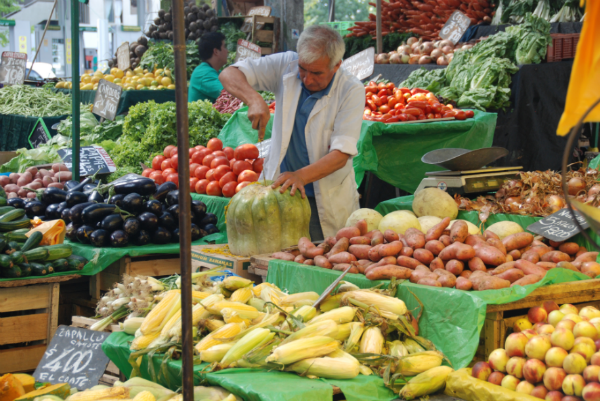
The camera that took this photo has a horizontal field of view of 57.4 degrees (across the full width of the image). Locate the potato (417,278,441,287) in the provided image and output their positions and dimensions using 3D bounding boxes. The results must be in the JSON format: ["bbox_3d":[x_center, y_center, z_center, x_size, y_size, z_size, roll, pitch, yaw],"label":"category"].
[{"bbox_3d":[0.797,0.506,3.418,0.138,0.042,0.072,2,8,17],"label":"potato"}]

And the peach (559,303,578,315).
[{"bbox_3d":[1.677,0.668,3.415,0.076,0.078,0.075,0,3,8],"label":"peach"}]

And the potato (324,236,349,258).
[{"bbox_3d":[0.262,0.327,3.888,0.171,0.056,0.092,-45,22,-14],"label":"potato"}]

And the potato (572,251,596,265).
[{"bbox_3d":[1.962,0.389,3.774,0.156,0.054,0.084,-13,5,-10],"label":"potato"}]

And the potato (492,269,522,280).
[{"bbox_3d":[1.304,0.467,3.451,0.148,0.080,0.052,-5,-35,0],"label":"potato"}]

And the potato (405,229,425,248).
[{"bbox_3d":[0.799,0.272,3.816,0.136,0.107,0.175,-1,7,0],"label":"potato"}]

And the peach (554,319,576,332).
[{"bbox_3d":[1.540,0.722,3.172,0.067,0.075,0.072,27,-35,-9],"label":"peach"}]

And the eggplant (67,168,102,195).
[{"bbox_3d":[-2.182,-0.188,5.543,0.361,0.110,0.104,-31,38,-22],"label":"eggplant"}]

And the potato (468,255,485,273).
[{"bbox_3d":[1.148,0.418,3.604,0.064,0.060,0.114,29,15,-29],"label":"potato"}]

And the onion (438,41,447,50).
[{"bbox_3d":[2.414,-2.612,9.282,0.125,0.139,0.171,0,7,2],"label":"onion"}]

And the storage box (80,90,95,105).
[{"bbox_3d":[-3.915,-1.888,10.094,0.162,0.246,0.630,-5,8,-31],"label":"storage box"}]

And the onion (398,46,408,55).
[{"bbox_3d":[1.833,-2.661,9.762,0.167,0.193,0.408,1,7,10],"label":"onion"}]

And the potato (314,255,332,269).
[{"bbox_3d":[0.161,0.420,3.800,0.061,0.055,0.123,-22,18,-23],"label":"potato"}]

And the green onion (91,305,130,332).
[{"bbox_3d":[-1.337,0.823,3.798,0.252,0.146,0.148,1,7,14],"label":"green onion"}]

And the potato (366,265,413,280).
[{"bbox_3d":[0.575,0.438,3.536,0.230,0.070,0.120,-3,2,-10],"label":"potato"}]

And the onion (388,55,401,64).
[{"bbox_3d":[1.642,-2.436,9.538,0.171,0.135,0.140,-4,-29,-6],"label":"onion"}]

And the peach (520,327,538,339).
[{"bbox_3d":[1.341,0.778,3.221,0.055,0.045,0.054,-2,0,-3],"label":"peach"}]

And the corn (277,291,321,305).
[{"bbox_3d":[-0.001,0.624,3.555,0.281,0.076,0.089,-9,51,-1],"label":"corn"}]

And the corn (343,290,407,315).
[{"bbox_3d":[0.447,0.631,3.415,0.415,0.132,0.139,7,19,25],"label":"corn"}]

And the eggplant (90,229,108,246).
[{"bbox_3d":[-1.730,0.319,4.695,0.175,0.151,0.100,6,9,41],"label":"eggplant"}]

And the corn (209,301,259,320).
[{"bbox_3d":[-0.406,0.691,3.458,0.331,0.123,0.123,13,-21,-11],"label":"corn"}]

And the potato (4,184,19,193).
[{"bbox_3d":[-3.440,-0.145,6.510,0.123,0.064,0.125,2,9,-16],"label":"potato"}]

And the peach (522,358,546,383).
[{"bbox_3d":[1.313,0.956,3.088,0.121,0.151,0.125,0,-6,-32],"label":"peach"}]

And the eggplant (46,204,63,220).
[{"bbox_3d":[-2.301,0.126,5.157,0.149,0.160,0.084,3,-7,18],"label":"eggplant"}]

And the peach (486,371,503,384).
[{"bbox_3d":[1.120,1.020,3.159,0.066,0.069,0.069,10,3,2],"label":"peach"}]

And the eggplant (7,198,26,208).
[{"bbox_3d":[-2.732,0.039,5.286,0.100,0.077,0.134,5,-3,16],"label":"eggplant"}]

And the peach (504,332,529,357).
[{"bbox_3d":[1.245,0.833,3.174,0.117,0.148,0.124,3,-10,-20],"label":"peach"}]

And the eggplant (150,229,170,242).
[{"bbox_3d":[-1.220,0.310,4.769,0.131,0.105,0.102,4,-7,4],"label":"eggplant"}]

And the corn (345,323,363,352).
[{"bbox_3d":[0.341,0.819,3.248,0.036,0.135,0.031,40,-21,-13],"label":"corn"}]

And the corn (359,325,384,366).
[{"bbox_3d":[0.422,0.831,3.185,0.095,0.174,0.095,9,-30,6],"label":"corn"}]

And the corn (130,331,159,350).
[{"bbox_3d":[-0.953,0.850,3.408,0.197,0.080,0.070,-19,37,-38],"label":"corn"}]

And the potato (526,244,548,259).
[{"bbox_3d":[1.643,0.354,3.815,0.085,0.057,0.167,2,18,28],"label":"potato"}]

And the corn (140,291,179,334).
[{"bbox_3d":[-0.894,0.712,3.559,0.110,0.111,0.372,34,37,4],"label":"corn"}]

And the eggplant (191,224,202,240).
[{"bbox_3d":[-0.950,0.285,4.919,0.067,0.133,0.188,1,7,14],"label":"eggplant"}]

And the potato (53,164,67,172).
[{"bbox_3d":[-3.057,-0.411,6.961,0.178,0.086,0.131,-4,8,-25],"label":"potato"}]

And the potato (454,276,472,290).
[{"bbox_3d":[1.001,0.507,3.403,0.072,0.035,0.074,-17,21,-25],"label":"potato"}]

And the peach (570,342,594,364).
[{"bbox_3d":[1.592,0.841,3.074,0.107,0.120,0.115,11,-6,-31],"label":"peach"}]

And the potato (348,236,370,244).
[{"bbox_3d":[0.422,0.287,3.894,0.145,0.053,0.060,0,7,1],"label":"potato"}]

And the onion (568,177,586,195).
[{"bbox_3d":[2.205,-0.105,4.389,0.132,0.144,0.156,3,8,28],"label":"onion"}]

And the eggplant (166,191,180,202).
[{"bbox_3d":[-1.156,-0.022,4.945,0.087,0.122,0.152,-4,8,-27],"label":"eggplant"}]

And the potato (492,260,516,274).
[{"bbox_3d":[1.316,0.431,3.558,0.154,0.052,0.069,-25,5,-36],"label":"potato"}]

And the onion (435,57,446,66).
[{"bbox_3d":[2.260,-2.209,8.820,0.148,0.118,0.115,-10,49,15],"label":"onion"}]

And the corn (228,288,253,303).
[{"bbox_3d":[-0.388,0.624,3.596,0.134,0.050,0.077,-11,30,14],"label":"corn"}]

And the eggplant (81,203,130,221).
[{"bbox_3d":[-1.686,0.104,4.796,0.409,0.128,0.169,1,41,-5],"label":"eggplant"}]

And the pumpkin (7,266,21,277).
[{"bbox_3d":[-2.223,0.549,4.267,0.088,0.070,0.068,-9,0,13],"label":"pumpkin"}]

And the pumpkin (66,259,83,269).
[{"bbox_3d":[-1.852,0.524,4.498,0.114,0.064,0.058,-1,2,24],"label":"pumpkin"}]

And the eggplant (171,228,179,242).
[{"bbox_3d":[-1.101,0.308,4.862,0.067,0.135,0.057,2,7,23],"label":"eggplant"}]
